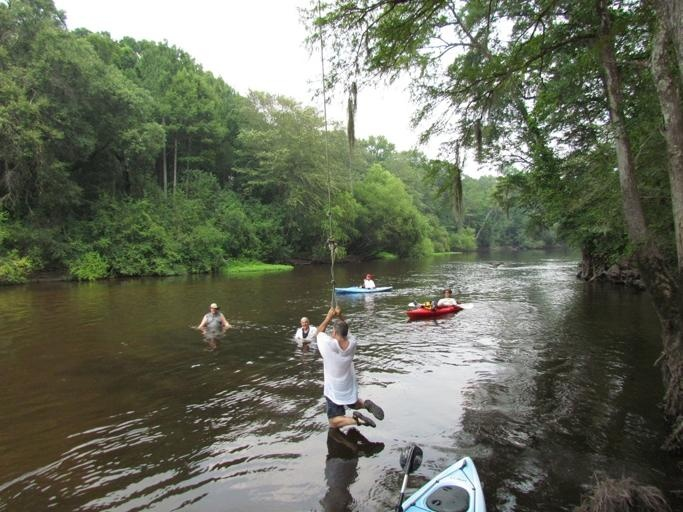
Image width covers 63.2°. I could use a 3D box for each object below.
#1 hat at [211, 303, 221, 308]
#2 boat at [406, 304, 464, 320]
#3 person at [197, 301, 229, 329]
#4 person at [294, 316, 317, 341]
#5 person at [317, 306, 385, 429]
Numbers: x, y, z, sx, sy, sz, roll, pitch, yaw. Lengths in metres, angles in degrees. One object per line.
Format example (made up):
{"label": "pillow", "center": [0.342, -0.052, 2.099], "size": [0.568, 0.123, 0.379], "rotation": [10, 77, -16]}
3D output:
{"label": "hat", "center": [-4.861, 1.933, 21.162], "size": [0.479, 0.199, 0.570], "rotation": [5, -10, -9]}
{"label": "boat", "center": [3.915, 2.341, 23.150], "size": [2.390, 0.459, 0.794], "rotation": [-4, 2, -30]}
{"label": "person", "center": [-4.959, 2.015, 21.419], "size": [1.499, 1.179, 0.811], "rotation": [-2, 6, -16]}
{"label": "person", "center": [-1.296, 2.603, 19.530], "size": [0.903, 0.839, 0.579], "rotation": [-2, 0, 27]}
{"label": "person", "center": [-0.015, 2.829, 13.896], "size": [1.138, 3.054, 0.669], "rotation": [-2, 1, -1]}
